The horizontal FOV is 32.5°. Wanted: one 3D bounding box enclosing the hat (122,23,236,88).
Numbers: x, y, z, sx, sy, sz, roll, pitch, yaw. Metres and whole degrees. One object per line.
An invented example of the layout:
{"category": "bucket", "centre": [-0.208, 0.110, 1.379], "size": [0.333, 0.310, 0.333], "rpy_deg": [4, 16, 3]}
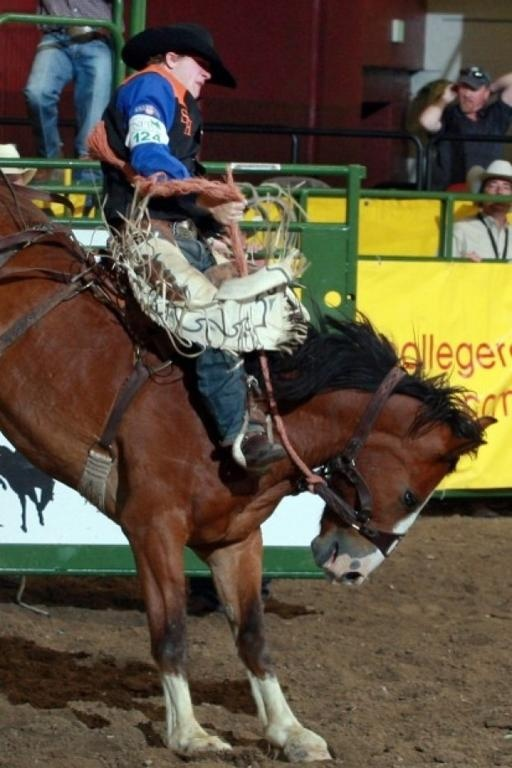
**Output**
{"category": "hat", "centre": [-0.254, -1.121, 2.869], "size": [0.329, 0.107, 0.246], "rpy_deg": [11, -18, 2]}

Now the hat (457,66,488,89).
{"category": "hat", "centre": [1.854, -2.600, 7.540], "size": [0.230, 0.144, 0.322], "rpy_deg": [3, -4, 19]}

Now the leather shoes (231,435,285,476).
{"category": "leather shoes", "centre": [-0.004, 0.197, 2.520], "size": [0.086, 0.058, 0.152], "rpy_deg": [43, 17, 16]}
